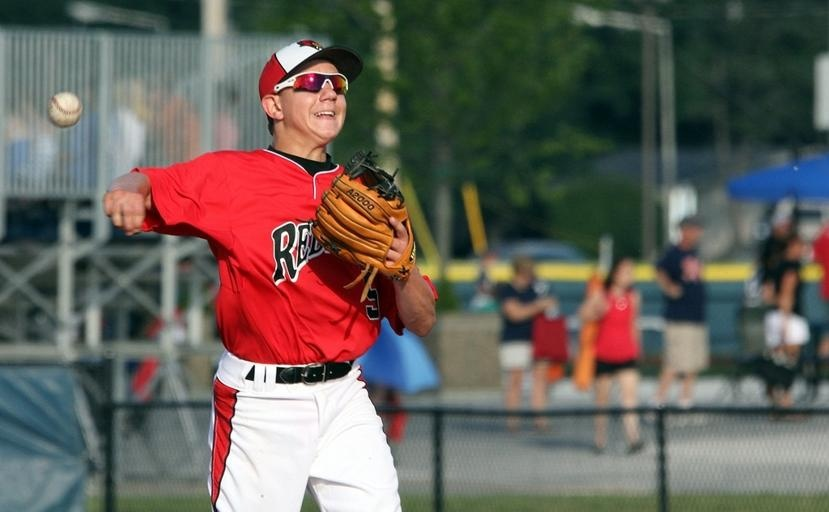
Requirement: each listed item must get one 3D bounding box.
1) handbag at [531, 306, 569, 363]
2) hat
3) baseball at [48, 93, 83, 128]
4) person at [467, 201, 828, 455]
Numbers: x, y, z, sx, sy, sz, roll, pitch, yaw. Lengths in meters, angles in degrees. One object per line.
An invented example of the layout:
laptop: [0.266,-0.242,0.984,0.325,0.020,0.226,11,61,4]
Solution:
handbag: [1.107,0.584,13.763,0.358,0.386,0.155,-4,7,-36]
hat: [-0.736,-1.345,12.077,0.636,0.327,0.393,-33,-2,12]
baseball: [-2.764,-1.170,13.553,0.266,0.252,0.223,-3,17,-35]
person: [2.180,0.401,13.753,1.765,1.483,0.772,1,5,11]
